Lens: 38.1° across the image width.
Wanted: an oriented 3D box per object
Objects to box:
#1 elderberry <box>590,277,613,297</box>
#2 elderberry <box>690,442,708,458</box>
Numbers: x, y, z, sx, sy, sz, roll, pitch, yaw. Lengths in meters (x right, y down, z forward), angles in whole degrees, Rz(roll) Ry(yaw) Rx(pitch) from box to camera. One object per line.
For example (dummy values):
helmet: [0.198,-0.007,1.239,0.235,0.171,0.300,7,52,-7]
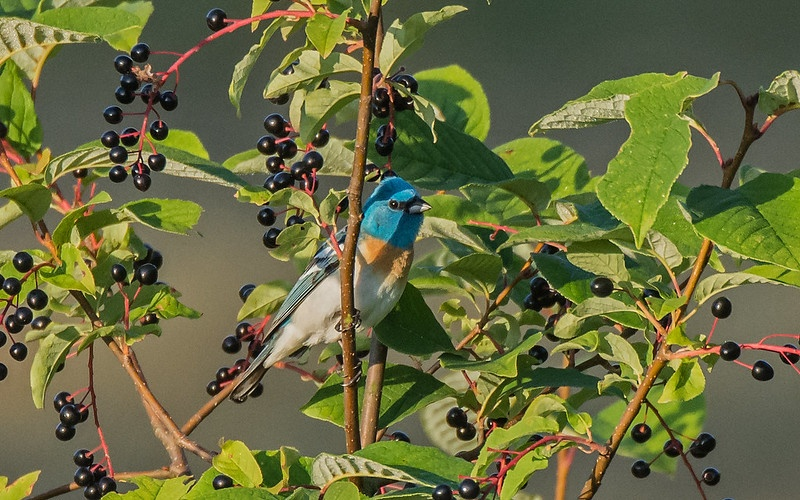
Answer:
elderberry: [0.781,0.143,4.463,0.068,0.080,0.074,0,-4,17]
elderberry: [1.251,0.835,4.831,0.059,0.080,0.064,-12,-5,-16]
